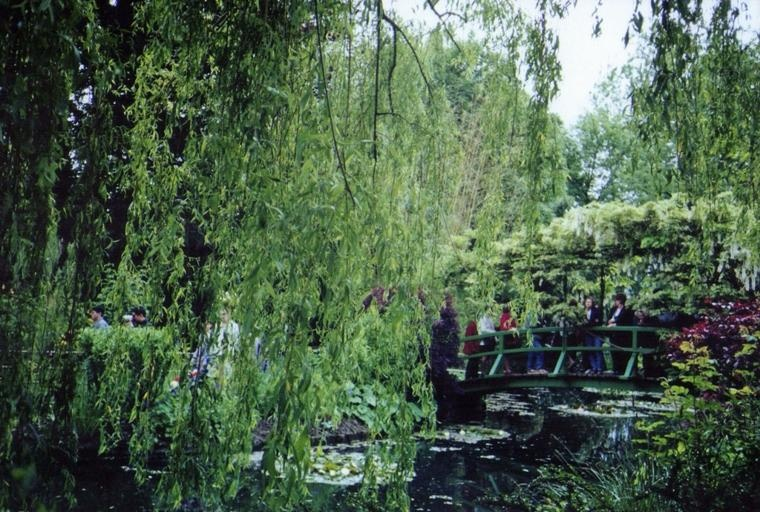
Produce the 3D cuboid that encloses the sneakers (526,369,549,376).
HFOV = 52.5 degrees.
[{"bbox_3d":[2.257,1.662,10.995,0.179,0.071,0.084,-6,-34,6],"label":"sneakers"}]
